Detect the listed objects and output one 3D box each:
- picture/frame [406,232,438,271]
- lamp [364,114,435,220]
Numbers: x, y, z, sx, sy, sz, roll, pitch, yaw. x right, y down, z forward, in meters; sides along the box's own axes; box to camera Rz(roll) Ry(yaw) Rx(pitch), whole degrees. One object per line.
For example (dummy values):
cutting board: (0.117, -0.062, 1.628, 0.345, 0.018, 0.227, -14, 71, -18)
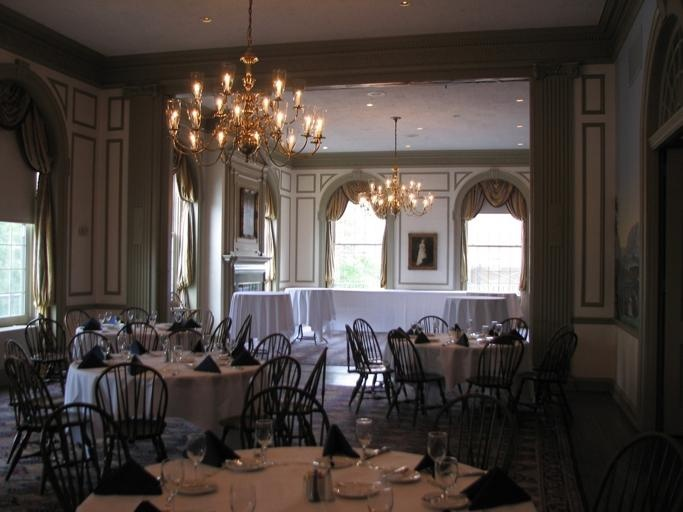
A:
picture/frame: (2.058, -0.127, 13.798, 0.709, 0.657, 0.080, -1, 0, 17)
lamp: (1.210, -1.955, 12.618, 1.562, 2.825, 1.769, 0, -1, -4)
